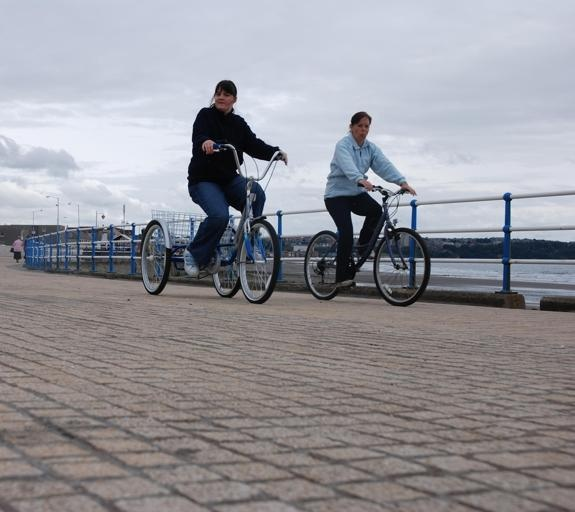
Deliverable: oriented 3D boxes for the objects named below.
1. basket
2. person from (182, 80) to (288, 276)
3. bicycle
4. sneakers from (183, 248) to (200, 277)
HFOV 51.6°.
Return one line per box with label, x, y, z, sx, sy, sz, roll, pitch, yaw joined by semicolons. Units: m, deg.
basket;-1.480;-0.475;8.374;0.777;0.477;1.191;-19;-10;39
person;-0.779;-0.972;7.492;0.971;2.460;0.748;2;0;-11
bicycle;1.003;-0.122;8.108;2.137;1.504;0.939;1;-2;45
sneakers;-1.248;0.102;7.716;0.135;0.412;0.154;-17;3;-3
